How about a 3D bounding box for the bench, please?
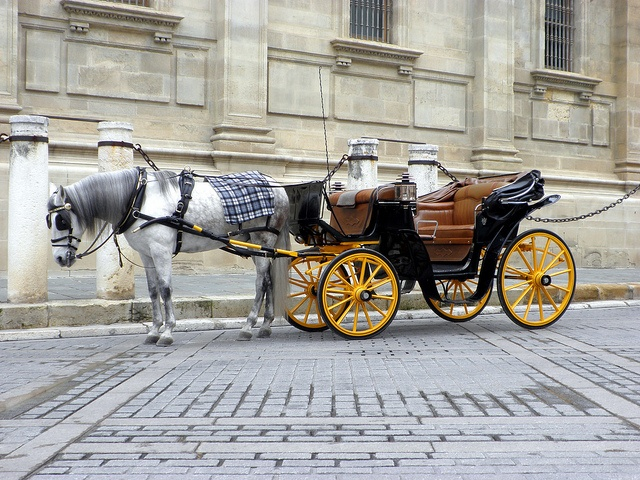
[{"bbox_3d":[1.811,-0.412,12.089,1.119,1.033,1.090,5,-3,-44],"label":"bench"}]
